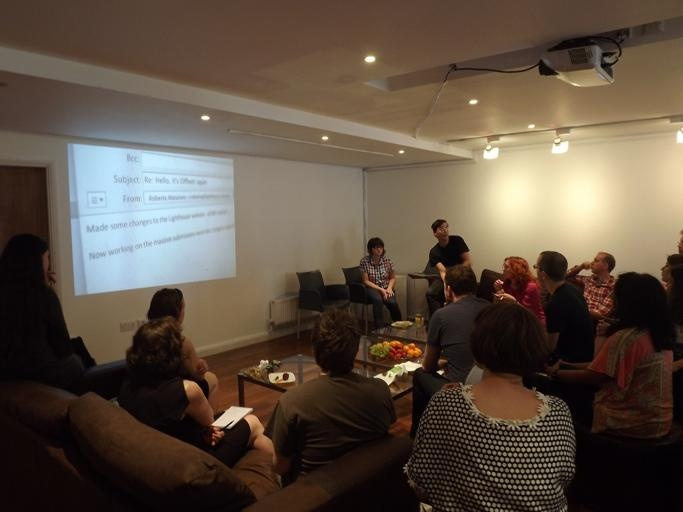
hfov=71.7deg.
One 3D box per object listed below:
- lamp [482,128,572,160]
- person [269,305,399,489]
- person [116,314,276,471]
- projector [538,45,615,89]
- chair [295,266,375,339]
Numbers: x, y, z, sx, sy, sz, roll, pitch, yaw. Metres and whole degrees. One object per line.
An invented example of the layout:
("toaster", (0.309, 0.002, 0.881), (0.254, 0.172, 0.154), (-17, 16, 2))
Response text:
("lamp", (2.397, -1.418, 6.146), (0.996, 0.255, 1.004), (0, 6, 27))
("person", (-0.094, 0.727, 2.782), (0.765, 1.061, 0.749), (-2, 5, -19))
("person", (-0.867, 0.895, 2.973), (0.539, 1.039, 0.868), (1, 11, 29))
("projector", (1.639, -1.324, 3.328), (0.434, 0.176, 0.490), (10, 7, 37))
("chair", (-0.204, 0.630, 6.714), (0.905, 1.301, 0.907), (0, -1, -37))
